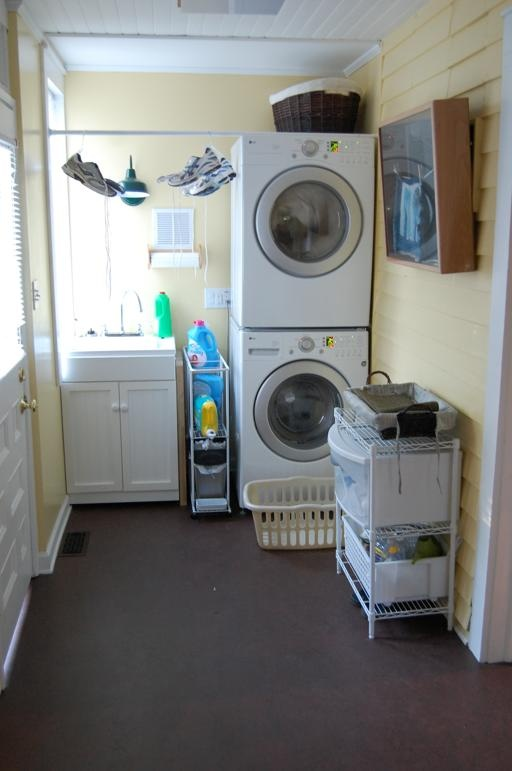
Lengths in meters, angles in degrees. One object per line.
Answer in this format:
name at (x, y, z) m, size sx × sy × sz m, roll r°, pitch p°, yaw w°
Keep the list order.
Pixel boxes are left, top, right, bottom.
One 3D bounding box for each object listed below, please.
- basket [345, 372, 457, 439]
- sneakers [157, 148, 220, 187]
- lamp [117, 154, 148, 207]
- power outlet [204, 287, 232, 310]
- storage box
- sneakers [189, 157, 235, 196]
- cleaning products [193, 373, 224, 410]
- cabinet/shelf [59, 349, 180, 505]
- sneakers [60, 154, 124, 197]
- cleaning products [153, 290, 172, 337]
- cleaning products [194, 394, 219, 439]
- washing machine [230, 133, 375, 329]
basket at (0.474, 0.074, 1.817) m, size 0.170 × 0.102 × 0.257 m, roll -3°, pitch 17°, yaw -6°
sneakers at (-0.318, -1.005, 2.513) m, size 0.180 × 0.129 × 0.309 m, roll -4°, pitch 8°, yaw -39°
lamp at (-0.670, -1.121, 2.959) m, size 0.162 × 0.215 × 0.166 m, roll -2°, pitch 1°, yaw -41°
power outlet at (-0.227, -0.519, 3.209) m, size 0.115 × 0.109 × 0.018 m, roll -1°, pitch 6°, yaw -7°
storage box at (0.465, 0.255, 1.937) m, size 0.321 × 0.339 × 0.494 m, roll -11°, pitch 18°, yaw -6°
sneakers at (-0.207, -0.981, 2.569) m, size 0.198 × 0.093 × 0.146 m, roll -29°, pitch -34°, yaw 27°
cleaning products at (-0.238, 0.023, 2.797) m, size 0.118 × 0.219 × 0.150 m, roll 0°, pitch 13°, yaw 6°
cabinet/shelf at (-0.739, 0.084, 3.015) m, size 0.601 × 0.944 × 0.602 m, roll 1°, pitch 31°, yaw -11°
sneakers at (-0.753, -0.971, 2.569) m, size 0.162 × 0.122 × 0.388 m, roll 2°, pitch 7°, yaw 13°
cleaning products at (-0.532, -0.410, 3.136) m, size 0.098 × 0.266 × 0.115 m, roll 0°, pitch 5°, yaw -10°
cleaning products at (-0.241, 0.151, 2.735) m, size 0.127 × 0.196 × 0.226 m, roll 0°, pitch 6°, yaw -10°
washing machine at (0.248, -0.704, 2.828) m, size 0.707 × 1.276 × 0.788 m, roll -1°, pitch 9°, yaw -6°
